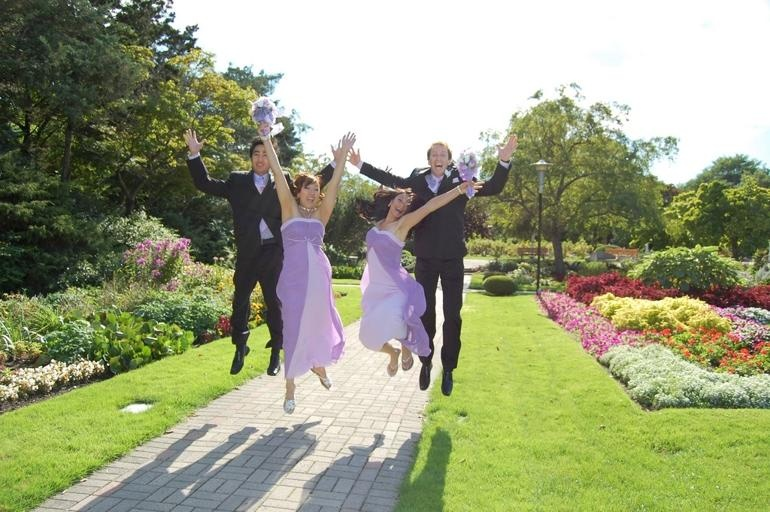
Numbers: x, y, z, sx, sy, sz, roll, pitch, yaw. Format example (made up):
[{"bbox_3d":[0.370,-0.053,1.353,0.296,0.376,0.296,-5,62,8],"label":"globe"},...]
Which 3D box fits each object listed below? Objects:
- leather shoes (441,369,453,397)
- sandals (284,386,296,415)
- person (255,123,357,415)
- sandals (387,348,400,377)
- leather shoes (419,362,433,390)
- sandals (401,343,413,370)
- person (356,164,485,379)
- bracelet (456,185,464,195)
[{"bbox_3d":[0.896,1.829,7.862,0.133,0.410,0.172,-1,-17,5],"label":"leather shoes"},{"bbox_3d":[-1.296,1.911,7.347,0.136,0.422,0.173,-1,9,-18],"label":"sandals"},{"bbox_3d":[-1.036,0.249,7.438,1.066,3.881,1.237,2,14,6],"label":"person"},{"bbox_3d":[0.111,1.487,7.699,0.191,0.522,0.138,2,-2,5],"label":"sandals"},{"bbox_3d":[0.560,1.726,7.849,0.147,0.501,0.193,3,3,23],"label":"leather shoes"},{"bbox_3d":[0.305,1.420,7.691,0.145,0.414,0.108,-5,21,-3],"label":"sandals"},{"bbox_3d":[0.217,0.476,7.773,1.239,2.772,1.203,5,15,20],"label":"person"},{"bbox_3d":[1.036,-0.909,7.558,0.079,0.110,0.039,-4,10,-8],"label":"bracelet"}]
